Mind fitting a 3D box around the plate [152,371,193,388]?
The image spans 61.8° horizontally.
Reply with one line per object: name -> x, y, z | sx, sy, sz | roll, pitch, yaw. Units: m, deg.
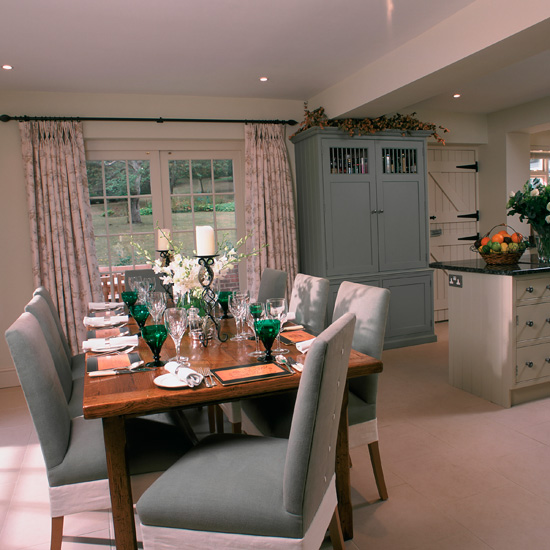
plate -> -0.359, 0.361, 1.561 | 0.083, 0.028, 0.140 | -7, 7, -36

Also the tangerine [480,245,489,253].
tangerine -> 1.524, -0.194, 3.338 | 0.037, 0.037, 0.048 | 1, 2, 1

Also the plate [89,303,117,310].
plate -> -1.207, 0.215, 3.231 | 0.106, 0.028, 0.104 | 0, 3, -32

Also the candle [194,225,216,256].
candle -> -0.331, -0.164, 2.170 | 0.097, 0.139, 0.163 | -4, 6, -9

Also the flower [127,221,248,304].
flower -> -0.672, -0.123, 3.204 | 0.752, 0.514, 0.751 | 2, 6, 42

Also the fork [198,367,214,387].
fork -> -0.234, 0.357, 1.624 | 0.024, 0.016, 0.147 | 0, 14, -16

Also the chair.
chair -> -0.348, 0.521, 2.115 | 1.369, 0.824, 1.301 | -5, 11, -14

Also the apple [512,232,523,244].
apple -> 1.773, -0.271, 3.318 | 0.084, 0.095, 0.082 | 0, -3, 3

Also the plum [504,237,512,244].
plum -> 1.669, -0.255, 3.295 | 0.037, 0.024, 0.043 | -1, 8, -3
